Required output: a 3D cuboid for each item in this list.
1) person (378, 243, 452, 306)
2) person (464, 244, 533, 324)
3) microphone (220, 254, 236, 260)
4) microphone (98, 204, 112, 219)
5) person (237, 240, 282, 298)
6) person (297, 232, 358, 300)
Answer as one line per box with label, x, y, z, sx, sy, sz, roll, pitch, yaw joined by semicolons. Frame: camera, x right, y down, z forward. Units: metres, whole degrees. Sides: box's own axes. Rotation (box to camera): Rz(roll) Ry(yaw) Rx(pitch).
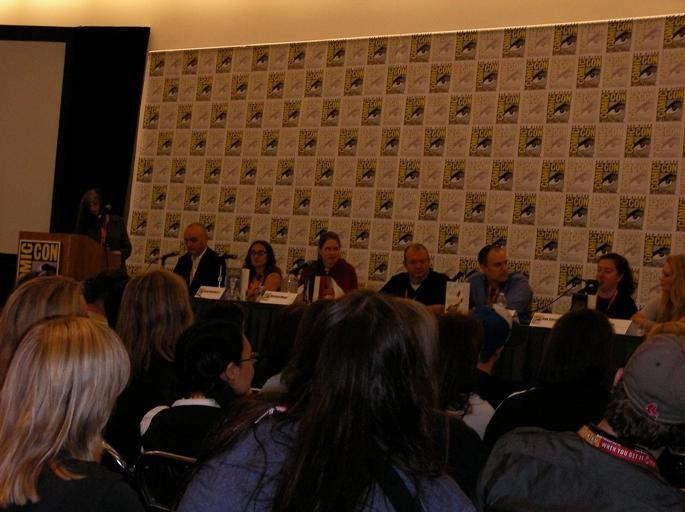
person;0.603;0.185;4.899;0.716;0.581;0.418;3;1;11
person;1.187;0.227;4.448;0.496;0.631;0.718;0;-6;6
microphone;-0.967;0.013;5.081;0.097;0.026;0.054;-3;-9;16
microphone;-2.555;-0.471;6.496;0.102;0.138;0.048;9;-2;-38
person;-0.711;0.269;5.309;0.347;0.807;0.387;3;3;2
person;-0.116;0.260;5.069;0.482;0.884;0.234;1;10;0
